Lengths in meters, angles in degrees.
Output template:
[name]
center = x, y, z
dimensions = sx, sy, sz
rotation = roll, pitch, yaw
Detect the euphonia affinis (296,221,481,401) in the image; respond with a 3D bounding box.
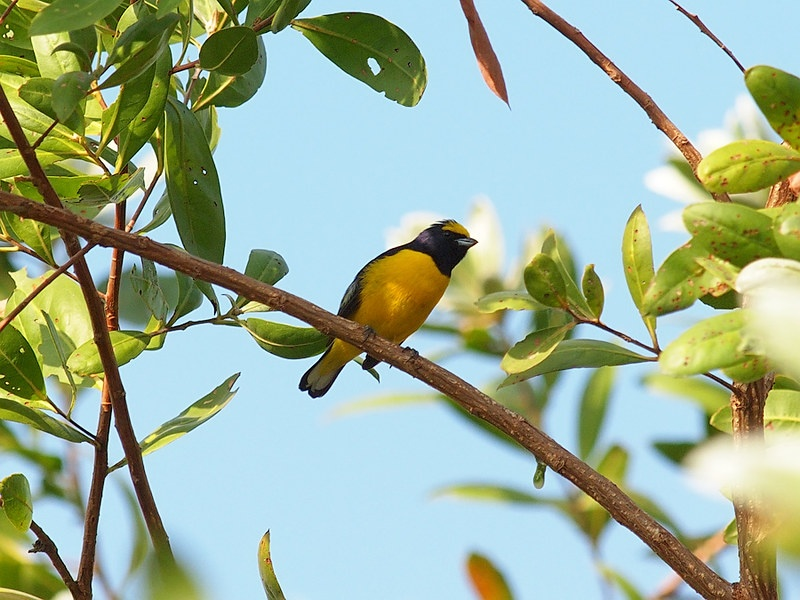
[euphonia affinis]
center = 0.009, 0.044, 4.635
dimensions = 0.835, 0.745, 0.378
rotation = -24, -45, 25
